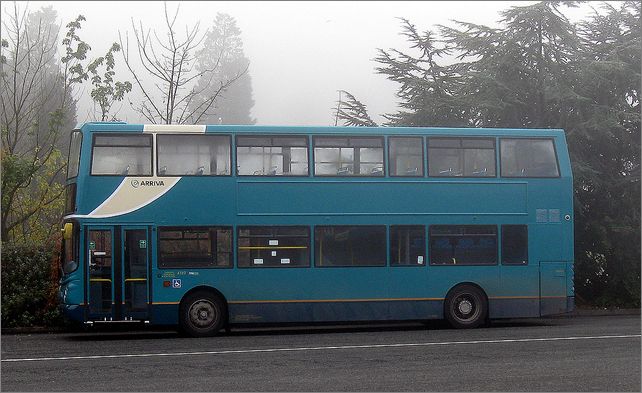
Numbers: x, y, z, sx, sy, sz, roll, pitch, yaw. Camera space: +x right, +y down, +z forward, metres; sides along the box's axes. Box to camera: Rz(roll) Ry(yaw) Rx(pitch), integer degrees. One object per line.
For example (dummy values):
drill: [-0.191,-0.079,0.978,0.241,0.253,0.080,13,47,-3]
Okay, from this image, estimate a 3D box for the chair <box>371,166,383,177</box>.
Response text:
chair: [1.914,-0.835,22.452,0.480,0.459,0.264,-3,7,3]

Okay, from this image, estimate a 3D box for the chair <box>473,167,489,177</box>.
chair: [5.454,-0.791,22.672,0.631,0.201,0.172,-7,-5,-12]
